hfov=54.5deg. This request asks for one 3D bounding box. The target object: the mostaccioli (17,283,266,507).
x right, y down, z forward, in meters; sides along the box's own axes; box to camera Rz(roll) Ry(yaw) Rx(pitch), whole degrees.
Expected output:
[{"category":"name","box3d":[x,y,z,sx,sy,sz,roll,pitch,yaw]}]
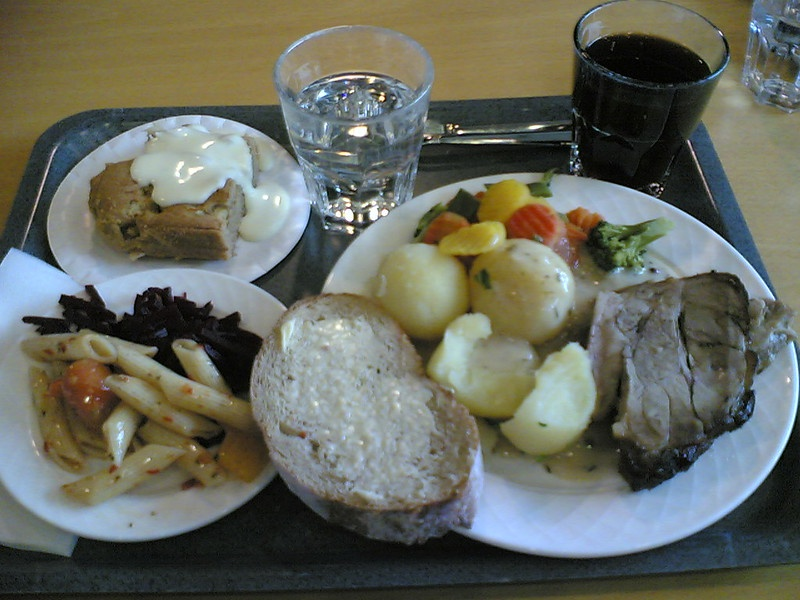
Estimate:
[{"category":"mostaccioli","box3d":[-0.689,0.178,2.032,0.172,0.632,0.727,-23,15,25]}]

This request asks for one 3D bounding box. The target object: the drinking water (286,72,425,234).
[{"category":"drinking water","box3d":[-0.120,-0.506,2.387,0.454,0.398,0.456,0,50,0]}]

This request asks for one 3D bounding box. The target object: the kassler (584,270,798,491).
[{"category":"kassler","box3d":[0.714,0.224,2.022,0.543,0.128,0.501,-33,66,-5]}]

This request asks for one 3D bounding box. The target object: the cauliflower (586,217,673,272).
[{"category":"cauliflower","box3d":[0.638,-0.162,2.044,0.269,0.179,0.101,-11,72,3]}]
